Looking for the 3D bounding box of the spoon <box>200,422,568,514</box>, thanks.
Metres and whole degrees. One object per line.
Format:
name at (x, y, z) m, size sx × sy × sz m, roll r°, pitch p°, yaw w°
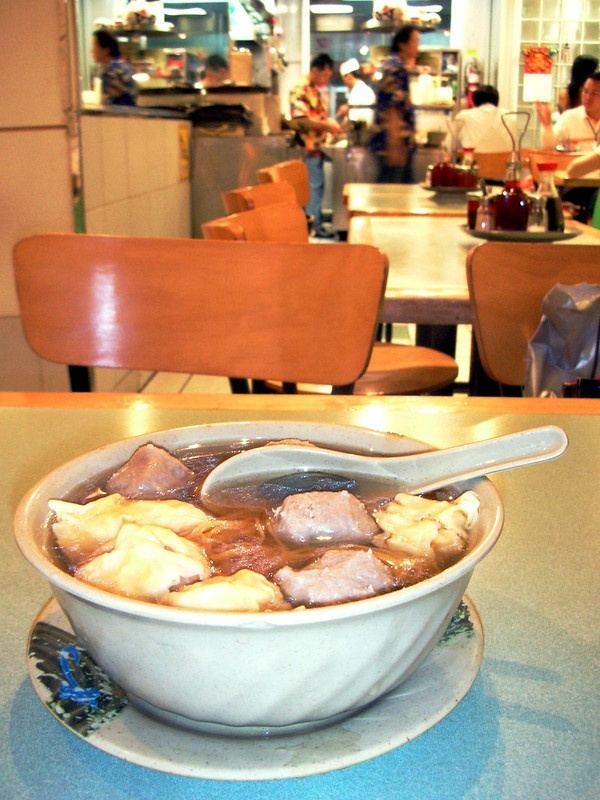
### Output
spoon at (0.040, 0.052, 0.381) m, size 0.205 × 0.030 × 0.062 m, roll -6°, pitch 36°, yaw 16°
